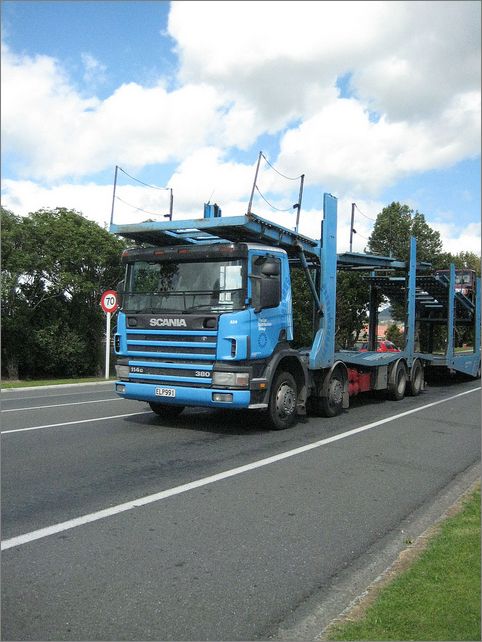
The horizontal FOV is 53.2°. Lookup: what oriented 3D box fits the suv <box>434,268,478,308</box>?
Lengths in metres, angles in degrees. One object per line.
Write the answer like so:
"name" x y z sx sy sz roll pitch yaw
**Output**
"suv" 8.665 -1.557 18.873 1.428 1.346 2.195 -2 -6 20
